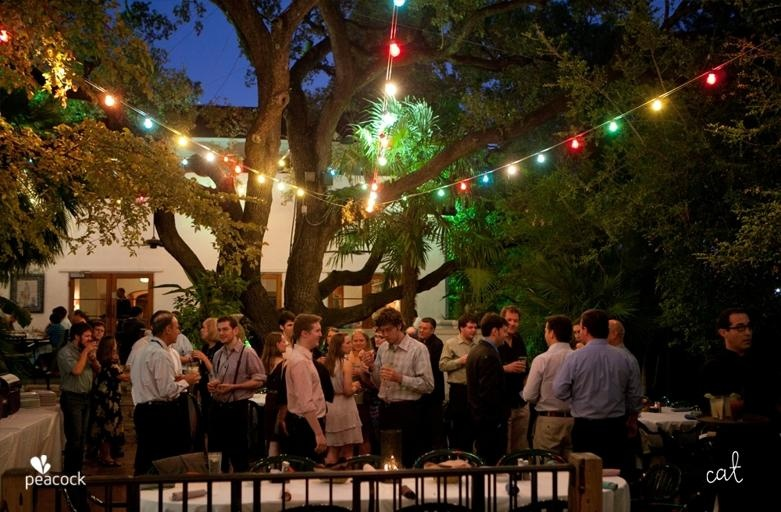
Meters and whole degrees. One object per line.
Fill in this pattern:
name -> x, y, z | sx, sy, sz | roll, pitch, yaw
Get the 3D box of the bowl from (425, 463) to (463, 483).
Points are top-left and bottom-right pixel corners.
bowl -> 0.488, 1.943, 6.220 | 0.373, 0.172, 0.423 | 3, -16, -4

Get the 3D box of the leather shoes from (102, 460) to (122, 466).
leather shoes -> -4.017, 2.979, 9.994 | 0.267, 0.069, 0.104 | -3, -9, 31

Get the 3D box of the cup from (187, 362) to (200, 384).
cup -> -2.412, 1.466, 8.486 | 0.161, 0.302, 0.431 | 2, -25, -17
